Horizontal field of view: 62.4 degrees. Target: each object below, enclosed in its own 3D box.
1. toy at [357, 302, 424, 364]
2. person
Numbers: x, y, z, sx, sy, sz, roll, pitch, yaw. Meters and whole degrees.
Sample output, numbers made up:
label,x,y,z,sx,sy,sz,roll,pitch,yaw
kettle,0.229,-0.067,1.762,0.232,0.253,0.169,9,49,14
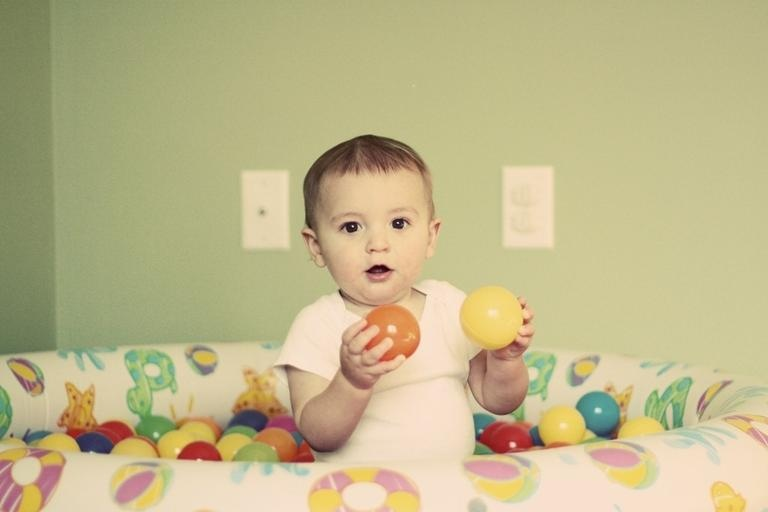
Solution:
label,x,y,z,sx,sy,sz,roll,pitch,yaw
toy,0.027,0.171,1.489,0.122,0.090,0.121,31,-8,-12
person,0.049,0.111,1.672,0.626,0.869,0.471,-3,9,-27
